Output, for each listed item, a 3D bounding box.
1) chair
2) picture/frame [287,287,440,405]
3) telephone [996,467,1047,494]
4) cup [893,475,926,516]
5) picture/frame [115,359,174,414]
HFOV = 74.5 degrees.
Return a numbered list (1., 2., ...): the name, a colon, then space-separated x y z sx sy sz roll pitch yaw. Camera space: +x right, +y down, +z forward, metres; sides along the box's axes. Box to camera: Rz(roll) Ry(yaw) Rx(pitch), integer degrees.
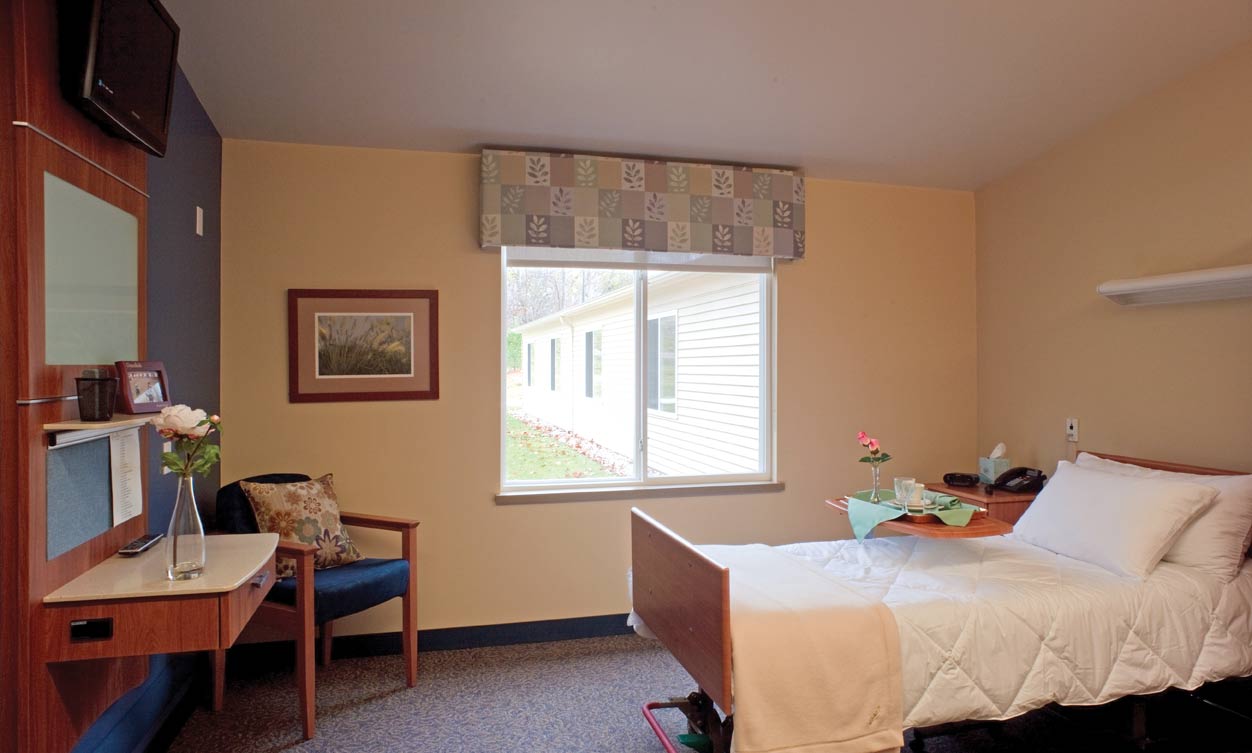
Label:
1. chair: -1.750 1.324 5.353 1.009 1.166 0.976 -2 -16 -5
2. picture/frame: -1.821 -0.209 5.551 0.841 0.662 0.032 0 -1 -10
3. telephone: 2.764 0.735 5.770 0.197 0.110 0.250 -6 -1 -12
4. cup: 1.719 0.732 5.009 0.245 0.234 0.163 -2 -3 43
5. picture/frame: -2.499 0.067 4.220 0.145 0.240 0.262 -9 0 19
